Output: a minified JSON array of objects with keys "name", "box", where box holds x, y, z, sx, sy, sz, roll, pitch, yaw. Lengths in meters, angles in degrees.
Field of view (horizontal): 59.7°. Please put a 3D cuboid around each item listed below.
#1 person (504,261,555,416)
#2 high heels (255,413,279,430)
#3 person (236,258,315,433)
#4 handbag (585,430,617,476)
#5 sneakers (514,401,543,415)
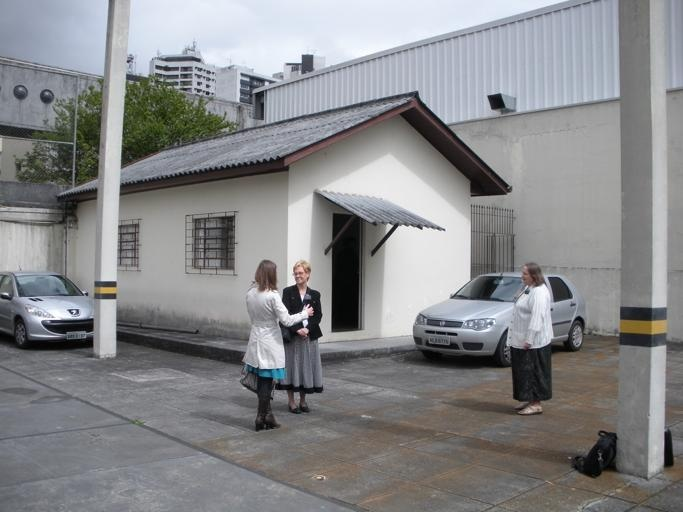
[{"name":"person","box":[2.750,1.190,8.624,0.599,2.155,0.541,1,2,13]},{"name":"high heels","box":[-0.967,2.158,7.666,0.123,0.221,0.389,0,3,33]},{"name":"person","box":[-0.897,1.155,7.704,0.763,2.193,0.705,0,2,-15]},{"name":"handbag","box":[2.813,2.140,6.408,0.236,0.389,0.459,2,2,42]},{"name":"sneakers","box":[2.690,2.201,8.530,0.278,0.137,0.193,2,-1,-5]}]
